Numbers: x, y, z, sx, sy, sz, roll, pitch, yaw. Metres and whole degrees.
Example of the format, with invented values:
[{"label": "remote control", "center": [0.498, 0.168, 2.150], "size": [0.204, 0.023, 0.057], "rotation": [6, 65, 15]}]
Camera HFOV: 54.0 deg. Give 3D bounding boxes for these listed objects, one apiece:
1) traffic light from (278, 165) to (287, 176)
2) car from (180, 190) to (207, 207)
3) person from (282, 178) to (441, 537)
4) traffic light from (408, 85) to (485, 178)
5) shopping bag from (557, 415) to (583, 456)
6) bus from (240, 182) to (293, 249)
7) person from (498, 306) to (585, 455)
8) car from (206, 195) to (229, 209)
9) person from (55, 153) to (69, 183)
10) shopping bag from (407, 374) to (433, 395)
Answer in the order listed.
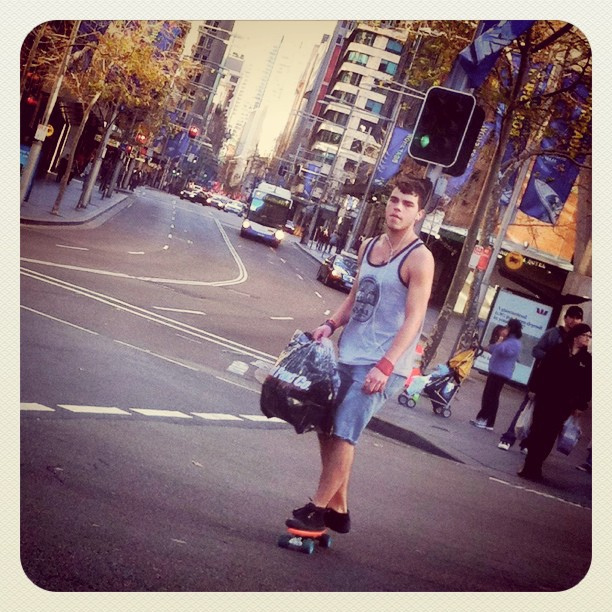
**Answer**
[{"label": "traffic light", "center": [-0.461, -2.617, 11.669], "size": [0.044, 0.187, 0.194], "rotation": [9, 4, 16]}, {"label": "car", "center": [-11.439, -11.372, 62.554], "size": [1.401, 1.360, 4.787], "rotation": [20, 5, 11]}, {"label": "person", "center": [0.352, 0.352, 3.634], "size": [0.559, 2.073, 1.043], "rotation": [18, 4, 12]}, {"label": "traffic light", "center": [1.250, -1.450, 5.229], "size": [0.526, 0.821, 0.443], "rotation": [13, -11, 32]}, {"label": "shopping bag", "center": [3.062, 1.503, 6.993], "size": [0.201, 0.531, 0.461], "rotation": [19, 4, 25]}, {"label": "bus", "center": [-1.278, -2.917, 21.480], "size": [1.362, 2.329, 4.656], "rotation": [16, -4, -1]}, {"label": "person", "center": [2.658, 0.785, 7.092], "size": [0.597, 2.022, 0.612], "rotation": [29, 39, 11]}, {"label": "car", "center": [-9.937, -11.686, 67.915], "size": [1.660, 1.142, 2.421], "rotation": [2, 15, -4]}, {"label": "person", "center": [-10.794, -6.074, 26.416], "size": [0.365, 1.071, 2.780], "rotation": [15, 7, -25]}, {"label": "shopping bag", "center": [1.531, 1.062, 8.273], "size": [0.391, 0.250, 0.104], "rotation": [-14, 36, -38]}]
